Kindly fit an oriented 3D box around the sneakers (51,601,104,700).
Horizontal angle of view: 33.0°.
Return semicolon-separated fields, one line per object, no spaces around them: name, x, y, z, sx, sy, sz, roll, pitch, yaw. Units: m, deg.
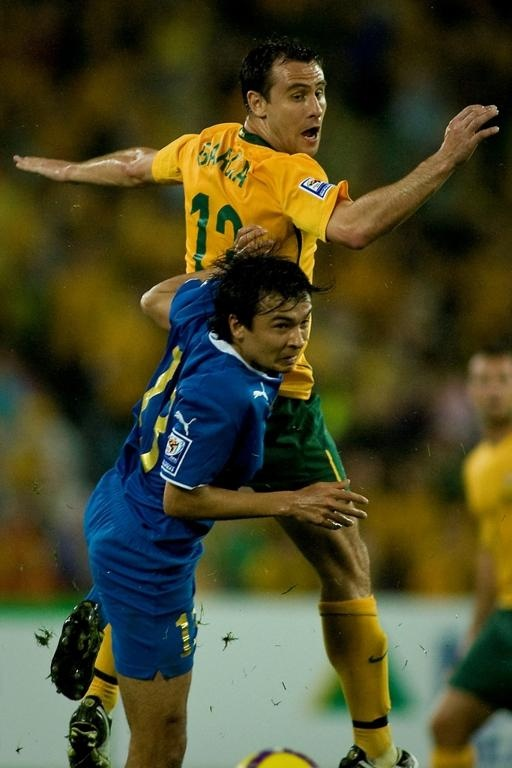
sneakers;-0.489;0.732;2.419;0.148;0.276;0.117;20;17;0
